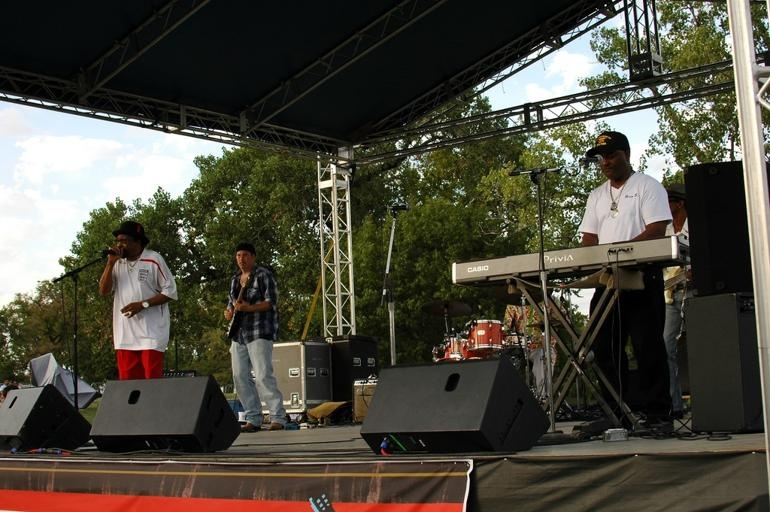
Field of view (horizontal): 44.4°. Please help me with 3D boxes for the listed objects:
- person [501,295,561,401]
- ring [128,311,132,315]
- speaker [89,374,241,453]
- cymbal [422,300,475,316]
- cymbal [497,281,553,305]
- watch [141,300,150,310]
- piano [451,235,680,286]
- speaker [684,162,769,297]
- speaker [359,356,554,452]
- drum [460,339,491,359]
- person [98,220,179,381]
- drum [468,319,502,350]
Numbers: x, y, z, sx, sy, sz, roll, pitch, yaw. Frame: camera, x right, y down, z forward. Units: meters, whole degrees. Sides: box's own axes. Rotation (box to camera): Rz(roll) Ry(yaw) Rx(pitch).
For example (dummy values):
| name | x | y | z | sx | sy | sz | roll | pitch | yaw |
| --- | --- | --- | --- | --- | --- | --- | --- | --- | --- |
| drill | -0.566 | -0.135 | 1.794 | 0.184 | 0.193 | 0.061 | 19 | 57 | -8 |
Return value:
| name | x | y | z | sx | sy | sz | roll | pitch | yaw |
| --- | --- | --- | --- | --- | --- | --- | --- | --- | --- |
| person | 2.059 | 1.085 | 13.346 | 0.919 | 1.622 | 0.746 | 13 | 35 | 14 |
| ring | -2.706 | 0.598 | 10.003 | 0.036 | 0.009 | 0.038 | -3 | -35 | -2 |
| speaker | -2.108 | 1.514 | 8.982 | 1.323 | 0.751 | 0.430 | -8 | -9 | 15 |
| cymbal | 0.931 | 0.763 | 14.231 | 0.736 | 0.230 | 0.572 | -4 | -9 | -6 |
| cymbal | 1.351 | 0.363 | 9.426 | 0.281 | 0.072 | 0.291 | -3 | -17 | 31 |
| watch | -2.551 | 0.514 | 10.035 | 0.080 | 0.056 | 0.079 | -20 | -23 | -12 |
| piano | 1.712 | 0.051 | 8.998 | 2.132 | 0.266 | 0.207 | -8 | -9 | 17 |
| speaker | 3.028 | -0.232 | 8.555 | 0.574 | 1.167 | 0.711 | 0 | 0 | -1 |
| speaker | 0.628 | 1.326 | 8.303 | 1.407 | 0.547 | 0.780 | -4 | -29 | 4 |
| drum | 1.323 | 1.371 | 13.791 | 0.562 | 0.181 | 0.465 | -1 | -12 | 14 |
| person | -2.645 | 0.485 | 10.288 | 0.628 | 2.146 | 0.648 | -2 | -5 | 21 |
| drum | 1.467 | 1.187 | 13.827 | 0.426 | 0.357 | 0.450 | 1 | -13 | 0 |
